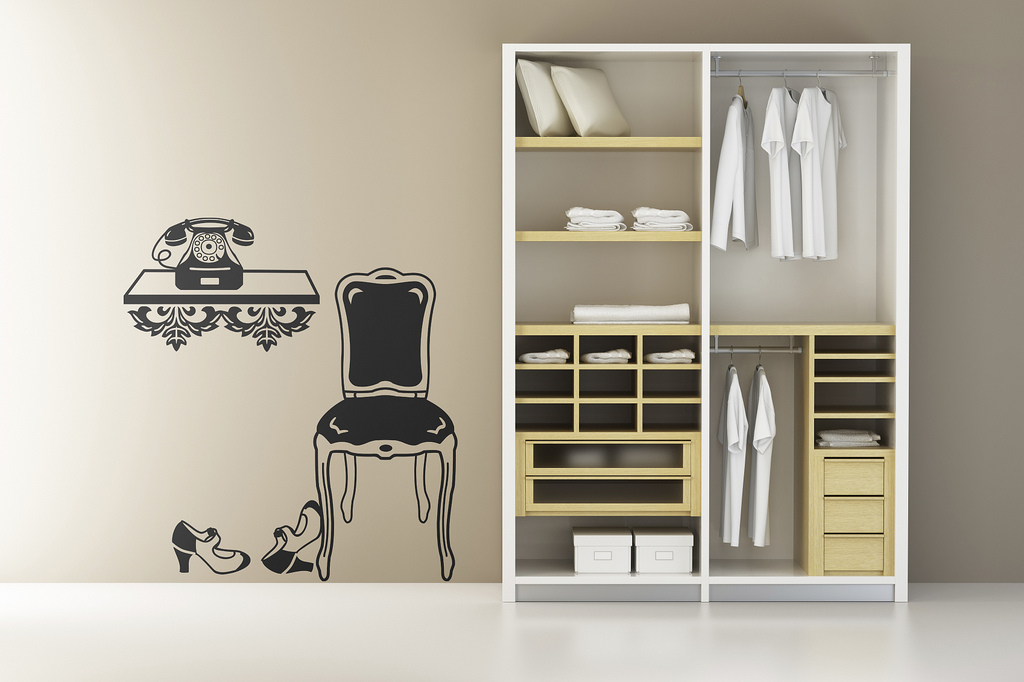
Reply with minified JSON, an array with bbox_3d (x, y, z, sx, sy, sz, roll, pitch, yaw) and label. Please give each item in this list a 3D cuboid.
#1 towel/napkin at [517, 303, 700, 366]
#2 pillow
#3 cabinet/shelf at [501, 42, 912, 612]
[{"bbox_3d":[0.589,-0.043,6.056,0.990,0.369,0.240,1,-3,5],"label":"towel/napkin"},{"bbox_3d":[0.370,-1.446,6.050,0.679,0.462,0.138,1,-3,-1],"label":"pillow"},{"bbox_3d":[1.193,-0.128,6.083,2.485,3.361,0.657,1,-3,2],"label":"cabinet/shelf"}]
